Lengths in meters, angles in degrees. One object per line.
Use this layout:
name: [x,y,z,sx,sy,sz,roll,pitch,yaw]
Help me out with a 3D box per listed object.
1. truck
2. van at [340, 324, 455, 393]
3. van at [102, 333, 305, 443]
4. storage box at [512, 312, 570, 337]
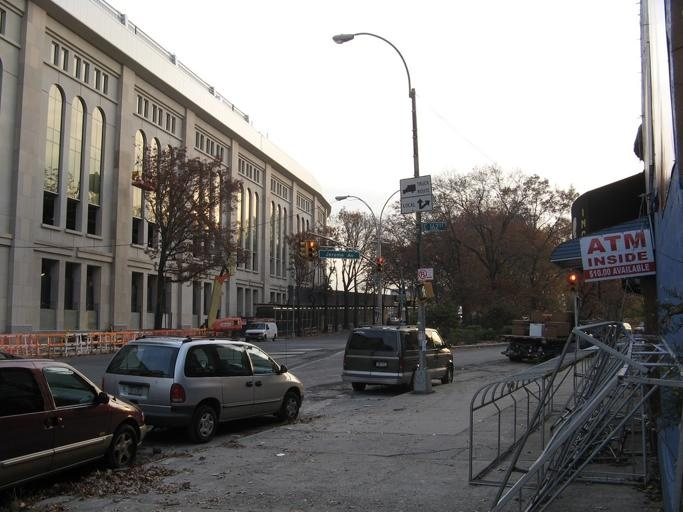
truck: [9.550,4.092,33.251,2.740,2.302,4.816,17,-1,23]
van: [1.985,3.146,22.544,1.747,1.593,3.362,-3,-2,33]
van: [-2.913,2.730,15.494,2.016,1.639,3.579,-2,-4,35]
storage box: [9.610,3.099,31.964,1.442,1.002,1.480,-3,-4,41]
